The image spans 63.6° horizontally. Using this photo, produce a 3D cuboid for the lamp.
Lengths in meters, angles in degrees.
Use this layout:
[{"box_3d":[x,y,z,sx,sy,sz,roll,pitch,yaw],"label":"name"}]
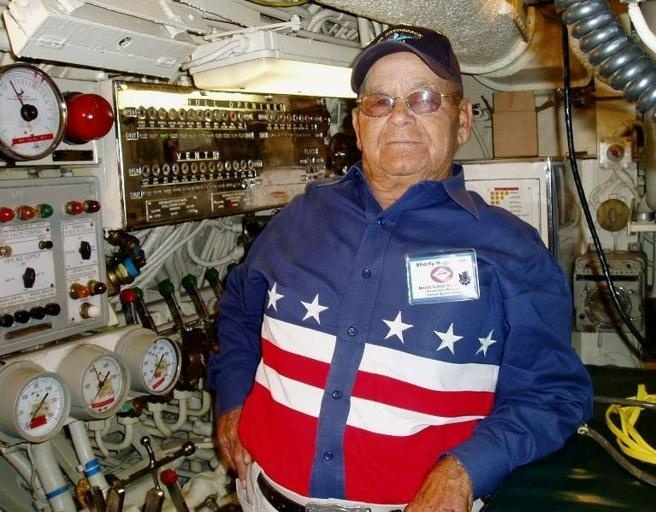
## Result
[{"box_3d":[-0.257,-0.799,2.207,0.337,0.127,0.581,7,9,43],"label":"lamp"}]
